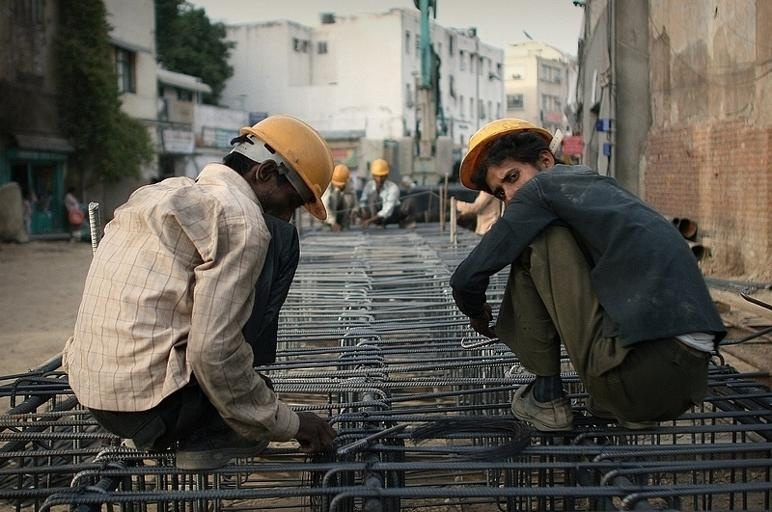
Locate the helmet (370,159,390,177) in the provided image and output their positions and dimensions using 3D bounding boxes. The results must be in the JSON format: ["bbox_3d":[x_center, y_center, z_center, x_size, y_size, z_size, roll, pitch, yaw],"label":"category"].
[{"bbox_3d":[-0.145,-1.598,25.257,0.366,0.258,0.536,0,24,2],"label":"helmet"}]

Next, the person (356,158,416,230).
[{"bbox_3d":[-0.025,-1.174,25.104,1.036,1.272,1.160,0,7,-3],"label":"person"}]

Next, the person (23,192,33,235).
[{"bbox_3d":[-9.086,-1.027,32.782,0.223,0.988,0.295,-2,8,-17],"label":"person"}]

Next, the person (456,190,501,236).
[{"bbox_3d":[1.806,-0.832,25.711,0.723,0.510,1.138,-20,23,22],"label":"person"}]
